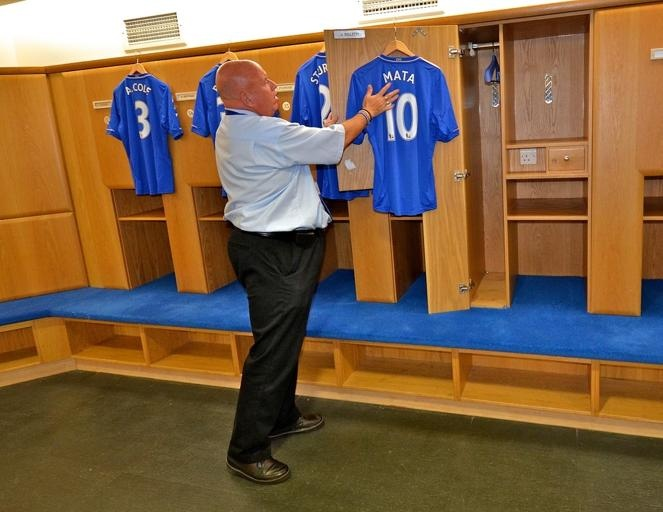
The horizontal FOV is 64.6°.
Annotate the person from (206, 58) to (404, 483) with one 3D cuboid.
[{"bbox_3d":[-0.305,0.065,2.964,0.973,2.224,0.544,-21,24,-40],"label":"person"}]

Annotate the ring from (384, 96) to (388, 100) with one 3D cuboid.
[{"bbox_3d":[0.314,-0.920,3.044,0.024,0.030,0.009,-1,-4,-3],"label":"ring"}]

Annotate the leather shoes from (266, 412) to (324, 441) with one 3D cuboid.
[{"bbox_3d":[-0.237,1.055,3.355,0.354,0.131,0.128,-13,16,-20],"label":"leather shoes"}]

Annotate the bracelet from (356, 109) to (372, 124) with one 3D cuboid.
[{"bbox_3d":[0.195,-0.805,2.987,0.025,0.084,0.086,-21,28,25],"label":"bracelet"}]

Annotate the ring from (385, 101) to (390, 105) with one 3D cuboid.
[{"bbox_3d":[0.327,-0.901,3.079,0.007,0.025,0.028,4,8,38],"label":"ring"}]

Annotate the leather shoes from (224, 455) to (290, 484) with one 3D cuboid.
[{"bbox_3d":[-0.405,1.194,2.965,0.291,0.115,0.136,1,7,13],"label":"leather shoes"}]
